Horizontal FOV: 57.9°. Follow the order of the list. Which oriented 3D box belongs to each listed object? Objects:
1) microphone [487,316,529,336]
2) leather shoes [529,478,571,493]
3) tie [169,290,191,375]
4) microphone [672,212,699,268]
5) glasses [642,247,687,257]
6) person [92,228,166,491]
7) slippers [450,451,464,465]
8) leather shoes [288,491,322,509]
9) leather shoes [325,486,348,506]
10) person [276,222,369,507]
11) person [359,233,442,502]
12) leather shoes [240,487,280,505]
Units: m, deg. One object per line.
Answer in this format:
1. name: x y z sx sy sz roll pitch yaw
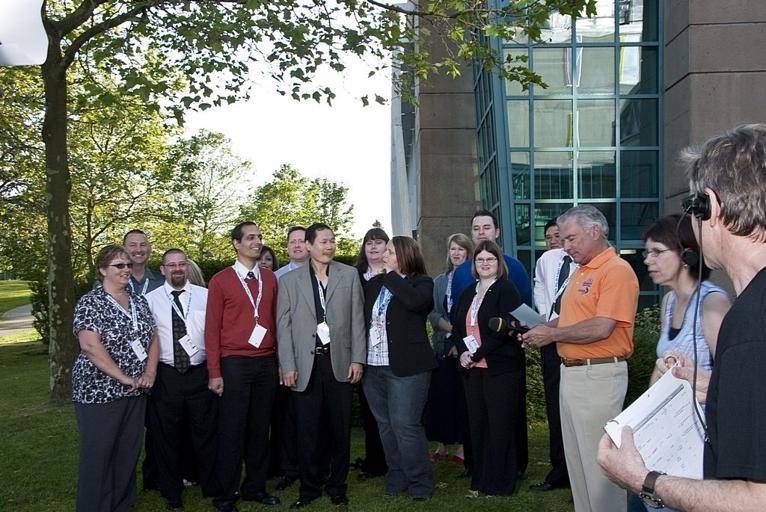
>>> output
1. microphone: 1.285 0.734 7.494 0.539 0.205 0.140 10 -18 -11
2. leather shoes: 1.932 2.647 8.084 0.478 0.179 0.159 3 -10 -7
3. tie: -2.333 0.836 7.906 0.170 0.893 0.269 -4 3 -17
4. microphone: 2.313 -0.130 5.279 0.133 0.372 0.308 -18 3 6
5. glasses: 2.331 -0.067 5.799 0.246 0.073 0.214 6 -1 -9
6. person: -3.404 1.640 9.640 1.115 3.905 1.075 1 18 -18
7. slippers: 0.986 2.676 9.219 0.227 0.177 0.370 1 -4 5
8. leather shoes: -0.879 2.718 7.774 0.132 0.149 0.365 -6 -8 42
9. leather shoes: -0.494 2.682 7.838 0.255 0.156 0.289 -4 2 -24
10. person: -0.697 1.194 7.979 1.005 3.113 0.622 -4 3 -10
11. person: 0.164 1.257 8.103 0.849 2.987 0.694 -2 3 16
12. leather shoes: -1.407 2.720 7.949 0.484 0.156 0.178 0 -7 16
